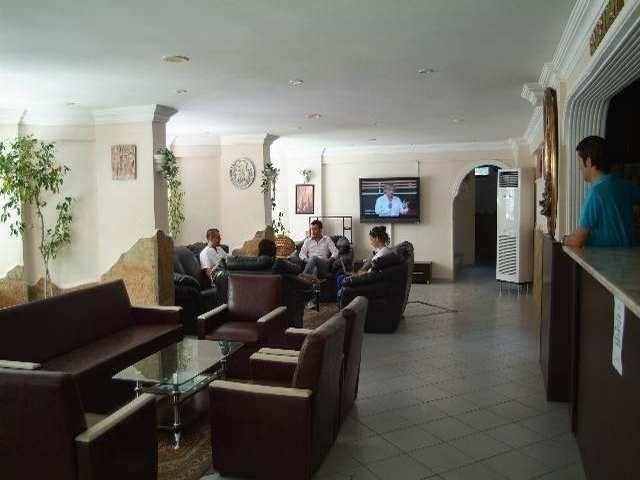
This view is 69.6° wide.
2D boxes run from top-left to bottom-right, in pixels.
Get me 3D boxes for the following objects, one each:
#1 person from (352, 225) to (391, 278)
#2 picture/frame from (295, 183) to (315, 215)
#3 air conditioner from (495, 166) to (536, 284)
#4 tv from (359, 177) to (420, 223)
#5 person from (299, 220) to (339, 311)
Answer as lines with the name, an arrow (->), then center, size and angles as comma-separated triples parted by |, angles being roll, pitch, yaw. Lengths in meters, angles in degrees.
person -> 0.747, 0.233, 6.453 | 0.433, 0.869, 0.401 | 4, 19, 14
picture/frame -> -0.333, -0.968, 10.609 | 0.632, 0.968, 0.060 | 1, 1, 10
air conditioner -> 3.551, -0.254, 8.394 | 0.621, 2.068, 0.523 | 1, 6, 24
tv -> 1.564, -0.889, 10.038 | 0.908, 0.717, 0.105 | 1, 1, 17
person -> -0.120, 0.367, 8.250 | 0.653, 1.484, 1.078 | 0, -4, 17
